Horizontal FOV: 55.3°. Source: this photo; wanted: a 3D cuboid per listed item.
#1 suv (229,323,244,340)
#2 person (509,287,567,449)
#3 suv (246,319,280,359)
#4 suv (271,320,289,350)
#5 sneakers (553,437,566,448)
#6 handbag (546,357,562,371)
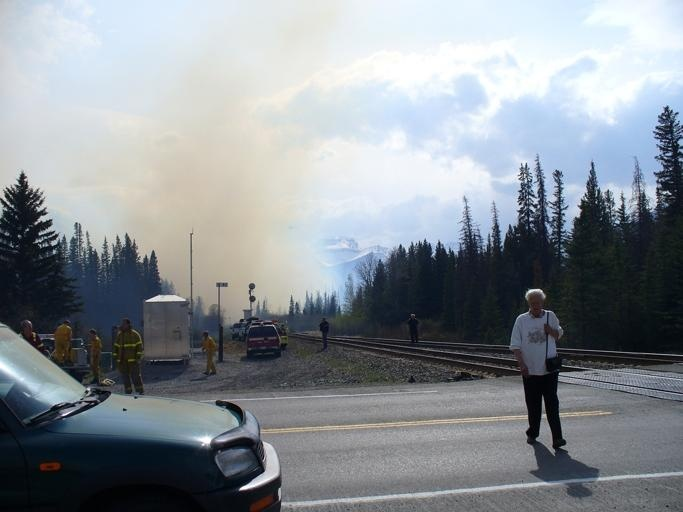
[{"bbox_3d":[-10.774,7.792,66.057,1.801,1.829,3.158,1,0,-4],"label":"suv"},{"bbox_3d":[3.005,1.681,9.908,0.729,2.330,0.749,-2,-3,19],"label":"person"},{"bbox_3d":[-4.319,4.592,36.379,1.173,1.374,2.539,0,1,-5],"label":"suv"},{"bbox_3d":[-4.681,5.725,46.657,1.529,1.830,3.578,1,-7,-2],"label":"suv"},{"bbox_3d":[3.232,2.745,9.517,0.265,0.153,0.131,0,-3,-34],"label":"sneakers"},{"bbox_3d":[3.189,1.588,9.615,0.263,0.257,0.186,0,-6,-41],"label":"handbag"}]
